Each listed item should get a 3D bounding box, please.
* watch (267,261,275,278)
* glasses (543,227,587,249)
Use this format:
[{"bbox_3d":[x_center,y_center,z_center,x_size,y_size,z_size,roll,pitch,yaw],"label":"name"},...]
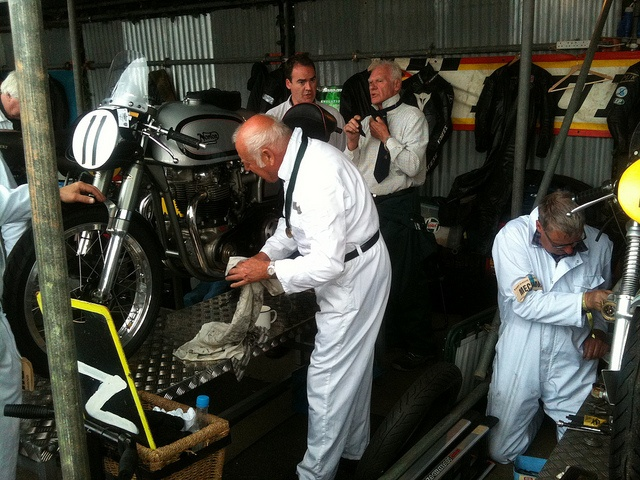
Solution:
[{"bbox_3d":[-0.259,0.164,2.852,0.015,0.067,0.070,7,55,-21],"label":"watch"},{"bbox_3d":[1.335,-0.003,3.008,0.130,0.084,0.167,-3,30,-6],"label":"glasses"}]
